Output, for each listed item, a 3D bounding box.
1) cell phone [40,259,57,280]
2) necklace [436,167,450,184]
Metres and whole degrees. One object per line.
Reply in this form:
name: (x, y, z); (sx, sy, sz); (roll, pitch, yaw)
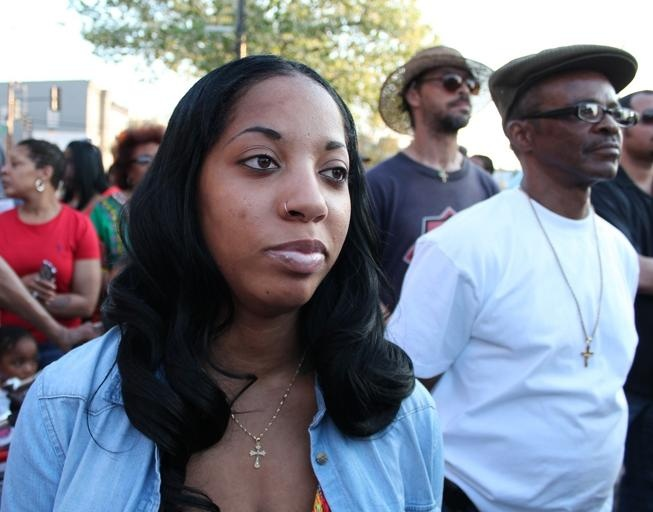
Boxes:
cell phone: (-1.581, 0.084, 4.466); (0.026, 0.099, 0.092); (1, -23, 35)
necklace: (0.791, -0.539, 5.278); (0.071, 0.102, 0.024); (5, -15, -33)
